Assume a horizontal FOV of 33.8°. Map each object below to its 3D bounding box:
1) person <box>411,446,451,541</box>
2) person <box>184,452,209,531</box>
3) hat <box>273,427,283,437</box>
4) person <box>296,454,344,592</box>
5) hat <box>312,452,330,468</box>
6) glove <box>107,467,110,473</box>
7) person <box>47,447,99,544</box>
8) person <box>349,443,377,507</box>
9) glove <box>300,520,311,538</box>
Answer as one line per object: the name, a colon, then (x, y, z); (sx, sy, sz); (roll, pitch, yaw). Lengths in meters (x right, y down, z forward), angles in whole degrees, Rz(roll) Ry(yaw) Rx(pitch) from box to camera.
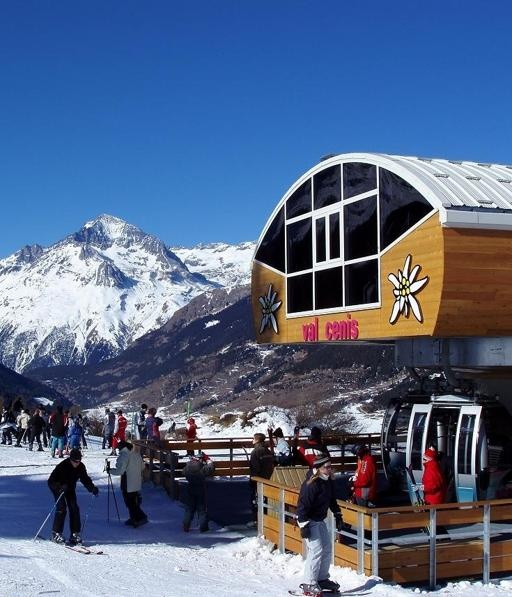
person: (2.853, 3.066, 13.449); (0.348, 1.335, 2.245); (-2, -8, 12)
person: (-1.160, 3.773, 16.383); (0.513, 1.526, 1.237); (1, -8, -5)
hat: (0.486, 2.853, 18.069); (0.168, 0.136, 0.254); (1, -5, -4)
person: (0.874, 3.104, 11.598); (0.587, 1.862, 1.035); (-1, -8, 6)
hat: (0.884, 2.185, 11.465); (0.196, 0.185, 0.162); (5, -3, 18)
glove: (-2.792, 3.247, 15.988); (0.068, 0.108, 0.173); (2, -8, -14)
person: (-3.215, 3.409, 14.597); (0.770, 1.623, 1.146); (2, -8, -13)
person: (1.871, 3.079, 14.648); (0.436, 1.081, 1.480); (-1, -8, 6)
glove: (0.669, 3.054, 11.185); (0.067, 0.211, 0.146); (-5, -3, -18)
